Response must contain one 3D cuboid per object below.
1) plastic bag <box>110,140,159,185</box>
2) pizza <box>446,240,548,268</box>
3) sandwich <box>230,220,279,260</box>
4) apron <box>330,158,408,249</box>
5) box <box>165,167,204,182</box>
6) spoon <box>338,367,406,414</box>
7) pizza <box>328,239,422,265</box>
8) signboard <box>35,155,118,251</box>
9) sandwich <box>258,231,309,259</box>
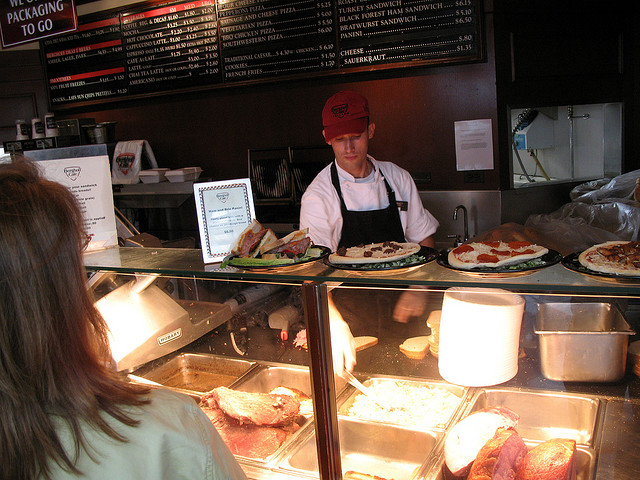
[{"bbox_3d":[-1.564,-0.672,4.065,0.379,0.384,0.281,-6,-4,37],"label":"plastic bag"},{"bbox_3d":[0.446,0.033,1.244,0.243,0.034,0.192,-2,10,25],"label":"pizza"},{"bbox_3d":[-0.212,0.007,1.488,0.110,0.111,0.041,32,-14,16],"label":"sandwich"},{"bbox_3d":[0.235,-0.172,2.387,0.321,0.254,0.451,-15,-21,4],"label":"apron"},{"bbox_3d":[-1.082,-0.514,3.832,0.275,0.103,0.257,-9,10,-17],"label":"box"},{"bbox_3d":[0.140,0.418,1.328,0.019,0.159,0.023,-47,2,-17],"label":"spoon"},{"bbox_3d":[0.165,0.032,1.398,0.242,0.033,0.278,2,13,42],"label":"pizza"},{"bbox_3d":[-0.854,-0.126,1.737,0.218,0.343,0.093,-12,11,-30],"label":"signboard"},{"bbox_3d":[-0.110,0.019,1.458,0.149,0.063,0.137,-4,10,13],"label":"sandwich"}]
